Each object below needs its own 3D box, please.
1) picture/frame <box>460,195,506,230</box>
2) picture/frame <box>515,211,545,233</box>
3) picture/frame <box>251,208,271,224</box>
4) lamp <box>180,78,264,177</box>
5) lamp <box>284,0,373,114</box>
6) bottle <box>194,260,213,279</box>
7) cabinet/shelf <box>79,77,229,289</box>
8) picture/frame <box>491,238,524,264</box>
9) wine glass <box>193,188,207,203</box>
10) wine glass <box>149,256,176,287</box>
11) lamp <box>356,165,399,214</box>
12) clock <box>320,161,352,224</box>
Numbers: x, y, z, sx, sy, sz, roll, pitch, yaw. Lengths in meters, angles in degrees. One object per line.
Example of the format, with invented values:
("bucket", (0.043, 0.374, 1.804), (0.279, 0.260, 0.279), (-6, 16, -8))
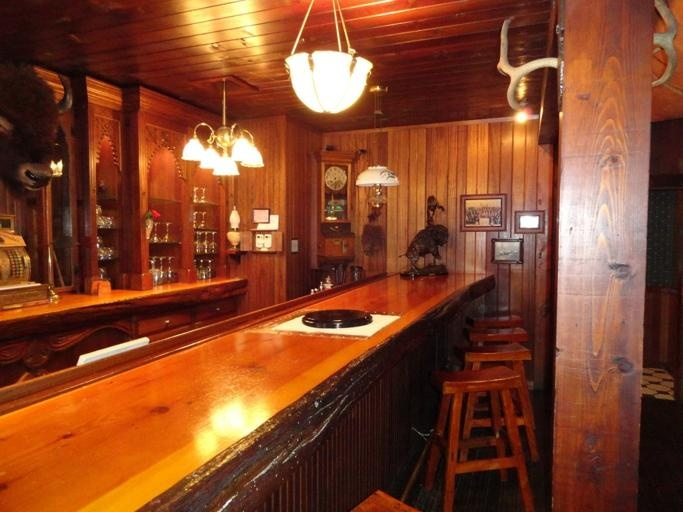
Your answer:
("picture/frame", (1.504, -0.461, 5.636), (0.365, 0.324, 0.030), (0, -2, 24))
("picture/frame", (1.921, -0.355, 5.448), (0.217, 0.195, 0.023), (1, 1, 24))
("picture/frame", (-0.875, -0.442, 5.828), (0.174, 0.128, 0.014), (0, 0, 19))
("lamp", (-0.952, -1.018, 4.285), (0.528, 0.697, 0.525), (-7, 6, -24))
("lamp", (-0.054, -1.151, 3.001), (0.426, 0.704, 0.984), (2, 11, 2))
("bottle", (-1.464, 0.135, 5.723), (0.188, 0.197, 0.187), (0, 2, -27))
("cabinet/shelf", (-1.781, -0.699, 4.927), (0.460, 1.867, 1.695), (3, 4, 28))
("picture/frame", (1.725, -0.058, 5.546), (0.247, 0.220, 0.027), (1, 0, 22))
("wine glass", (-1.484, -0.636, 5.584), (0.144, 0.162, 0.145), (-3, 7, -31))
("wine glass", (-1.729, 0.129, 5.281), (0.234, 0.238, 0.246), (1, 4, 13))
("lamp", (0.311, -0.581, 4.665), (0.394, 0.367, 0.394), (1, -3, -5))
("clock", (-0.073, -0.708, 6.251), (0.357, 0.860, 0.094), (3, -26, -6))
